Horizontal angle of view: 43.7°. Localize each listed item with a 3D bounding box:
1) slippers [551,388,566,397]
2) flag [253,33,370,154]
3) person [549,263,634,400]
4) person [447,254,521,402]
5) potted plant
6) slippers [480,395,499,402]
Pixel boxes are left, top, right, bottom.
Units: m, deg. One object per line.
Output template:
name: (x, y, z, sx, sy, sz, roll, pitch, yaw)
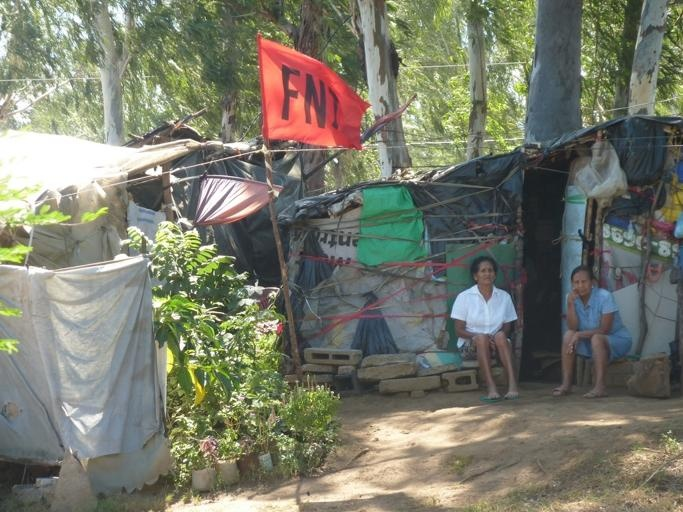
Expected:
slippers: (2.939, 1.829, 11.511, 0.202, 0.095, 0.164, -2, 2, 14)
flag: (-0.417, -2.153, 11.365, 0.276, 1.388, 1.706, 1, 4, 44)
person: (3.427, 0.987, 11.690, 0.871, 1.713, 1.186, 0, 4, 38)
person: (2.063, 0.965, 11.966, 0.853, 1.903, 1.097, -4, 3, -11)
potted plant: (-1.344, 1.365, 10.734, 1.860, 2.766, 2.866, -23, -18, 27)
slippers: (1.996, 1.914, 11.479, 0.268, 0.068, 0.194, -2, 2, 25)
